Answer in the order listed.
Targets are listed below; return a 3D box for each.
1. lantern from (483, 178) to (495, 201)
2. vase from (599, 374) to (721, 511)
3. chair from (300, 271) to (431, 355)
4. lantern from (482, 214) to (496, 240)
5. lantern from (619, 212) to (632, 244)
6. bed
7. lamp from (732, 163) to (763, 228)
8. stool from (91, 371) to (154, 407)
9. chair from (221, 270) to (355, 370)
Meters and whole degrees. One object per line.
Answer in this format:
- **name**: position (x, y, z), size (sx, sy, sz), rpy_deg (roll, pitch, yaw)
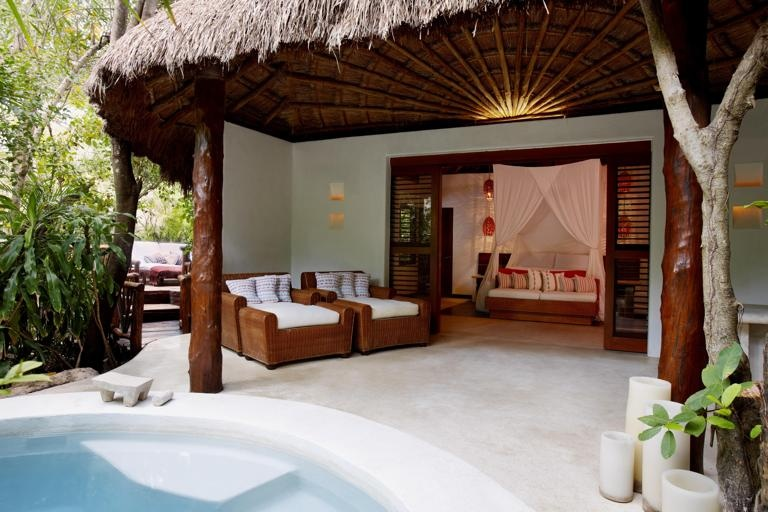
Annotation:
- **lantern**: position (2.452, -1.599, 11.498), size (0.188, 0.425, 0.725), rpy_deg (2, 8, 9)
- **vase**: position (1.812, 1.276, 3.373), size (0.502, 0.780, 0.629), rpy_deg (8, 10, 41)
- **chair**: position (-0.302, 0.682, 7.007), size (1.103, 1.020, 1.441), rpy_deg (0, -1, -30)
- **lantern**: position (2.494, -0.684, 11.694), size (0.235, 0.527, 0.897), rpy_deg (2, 7, 8)
- **lantern**: position (3.293, -0.361, 6.680), size (0.153, 0.393, 0.170), rpy_deg (5, 9, 28)
- **bed**: position (3.052, 0.749, 9.335), size (1.976, 0.839, 1.012), rpy_deg (4, 8, 21)
- **lamp**: position (4.556, -0.759, 6.113), size (0.352, 0.837, 0.247), rpy_deg (5, 9, 29)
- **stool**: position (-2.080, 1.023, 3.911), size (0.352, 0.191, 0.245), rpy_deg (5, 7, 15)
- **chair**: position (-1.363, 0.706, 6.228), size (1.060, 0.903, 1.384), rpy_deg (0, 0, -36)
